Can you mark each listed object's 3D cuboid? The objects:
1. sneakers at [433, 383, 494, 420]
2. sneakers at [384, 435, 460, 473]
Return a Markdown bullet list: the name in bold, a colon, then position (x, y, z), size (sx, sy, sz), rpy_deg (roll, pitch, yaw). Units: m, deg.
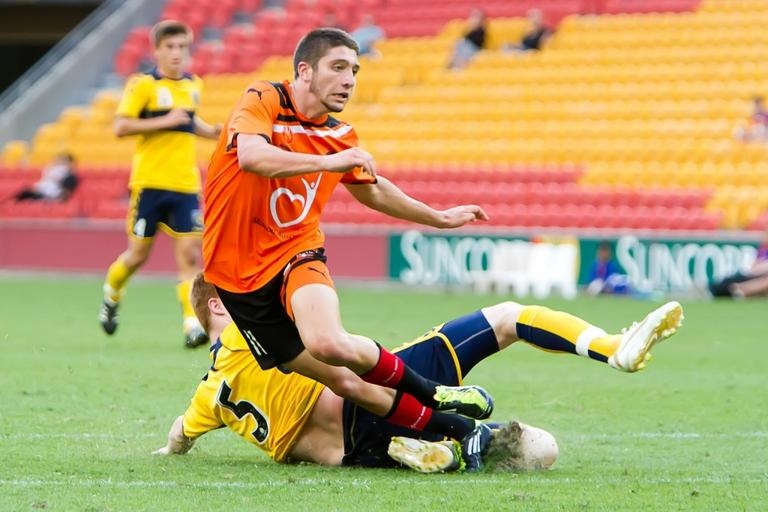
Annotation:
- **sneakers**: position (0.678, 1.218, 8.536), size (0.598, 0.235, 0.297), rpy_deg (7, 3, 41)
- **sneakers**: position (0.335, 1.667, 8.533), size (0.514, 0.279, 0.205), rpy_deg (16, 8, 6)
